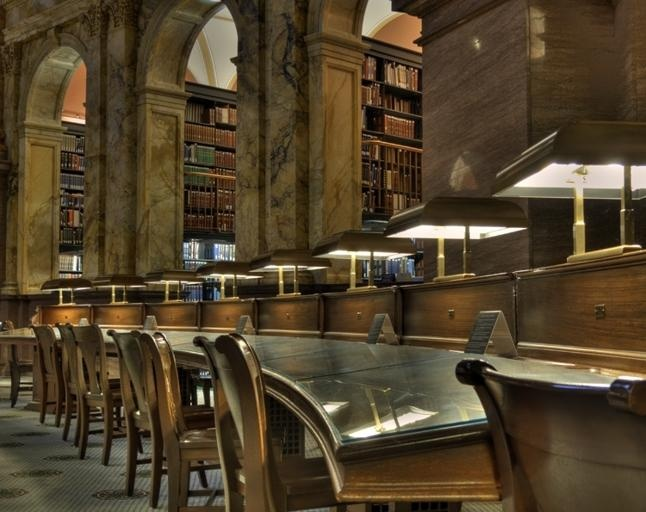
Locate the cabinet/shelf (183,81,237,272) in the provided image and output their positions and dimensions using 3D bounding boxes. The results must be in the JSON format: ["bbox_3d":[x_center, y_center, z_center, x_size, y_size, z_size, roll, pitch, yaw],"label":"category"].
[{"bbox_3d":[-1.705,-1.231,10.146,0.897,2.654,1.005,-2,-3,-18],"label":"cabinet/shelf"}]

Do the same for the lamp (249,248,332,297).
[{"bbox_3d":[-0.252,0.058,5.339,0.392,0.301,0.578,0,-2,-17],"label":"lamp"}]

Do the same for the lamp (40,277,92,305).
[{"bbox_3d":[-3.358,0.367,8.742,0.485,0.378,0.725,0,0,-19],"label":"lamp"}]
